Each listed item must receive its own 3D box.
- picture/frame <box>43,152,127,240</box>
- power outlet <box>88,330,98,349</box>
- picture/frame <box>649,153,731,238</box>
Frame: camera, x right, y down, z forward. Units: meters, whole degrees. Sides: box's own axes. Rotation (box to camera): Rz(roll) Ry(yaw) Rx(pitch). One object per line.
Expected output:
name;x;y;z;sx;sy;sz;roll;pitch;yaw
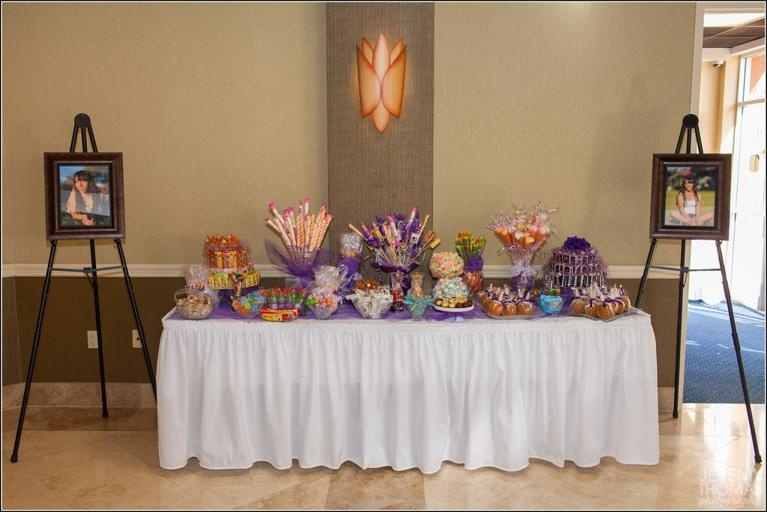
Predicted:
picture/frame;-2.287;-0.462;5.054;0.639;0.809;0.055;-1;2;-9
power outlet;-2.460;0.718;5.604;0.091;0.158;0.021;-1;5;12
picture/frame;2.337;-0.460;5.030;0.609;0.775;0.054;1;2;8
